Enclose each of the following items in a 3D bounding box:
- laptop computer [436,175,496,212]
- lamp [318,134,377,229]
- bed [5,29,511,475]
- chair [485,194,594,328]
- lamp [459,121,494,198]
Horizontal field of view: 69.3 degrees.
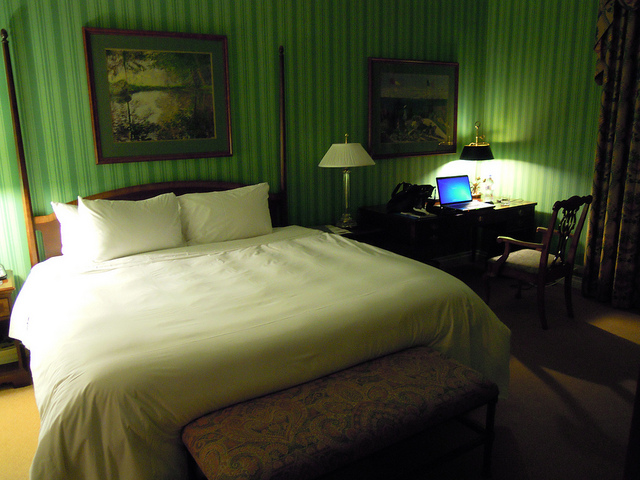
[{"bbox_3d":[1.534,-0.491,4.906,0.489,0.290,0.442,-6,19,-20],"label":"laptop computer"},{"bbox_3d":[0.270,-0.576,4.620,0.569,0.920,0.563,-4,10,-18],"label":"lamp"},{"bbox_3d":[-0.567,-0.037,3.313,2.735,2.177,2.499,-11,20,-34],"label":"bed"},{"bbox_3d":[1.988,0.115,4.251,0.830,1.166,0.874,-2,14,1],"label":"chair"},{"bbox_3d":[1.793,-0.907,5.305,0.377,0.844,0.376,-10,17,-21],"label":"lamp"}]
